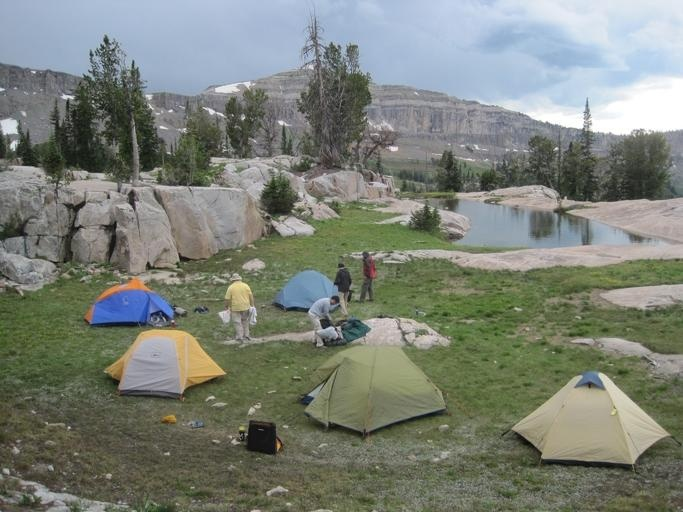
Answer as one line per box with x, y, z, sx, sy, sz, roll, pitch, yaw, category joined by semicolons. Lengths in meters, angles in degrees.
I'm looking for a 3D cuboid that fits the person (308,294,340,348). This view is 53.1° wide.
-0.960;3.125;33.704;1.071;2.390;1.304;-1;6;-23;person

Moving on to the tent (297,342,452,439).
1.527;5.197;28.910;5.220;2.218;5.123;-3;9;-29;tent

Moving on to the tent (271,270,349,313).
-1.845;2.080;38.118;3.523;2.227;2.979;-1;8;-16;tent
